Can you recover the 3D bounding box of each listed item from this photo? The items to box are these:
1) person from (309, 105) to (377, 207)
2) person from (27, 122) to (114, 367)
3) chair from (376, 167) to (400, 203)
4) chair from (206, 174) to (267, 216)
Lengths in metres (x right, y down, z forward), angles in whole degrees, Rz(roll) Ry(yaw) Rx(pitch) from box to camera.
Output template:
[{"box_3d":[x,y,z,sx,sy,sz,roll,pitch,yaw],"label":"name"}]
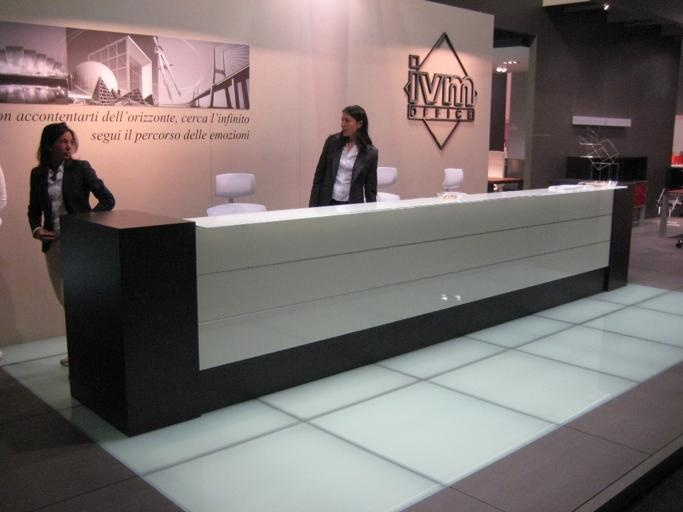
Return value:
[{"box_3d":[0.015,-0.898,4.203,0.615,0.891,0.228,3,12,13],"label":"person"},{"box_3d":[-2.003,-0.325,3.419,0.594,1.263,0.390,6,13,27],"label":"person"},{"box_3d":[0.460,-0.784,5.237,0.283,0.398,0.315,8,14,42],"label":"chair"},{"box_3d":[-0.995,-0.588,4.390,0.519,0.626,0.531,-4,20,-17],"label":"chair"}]
